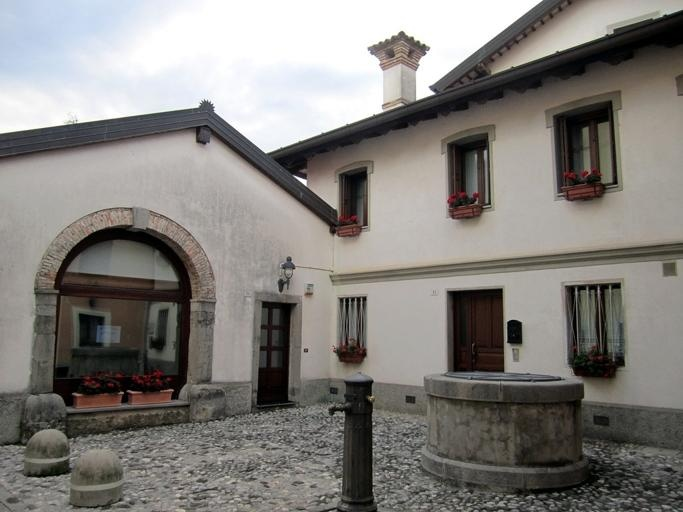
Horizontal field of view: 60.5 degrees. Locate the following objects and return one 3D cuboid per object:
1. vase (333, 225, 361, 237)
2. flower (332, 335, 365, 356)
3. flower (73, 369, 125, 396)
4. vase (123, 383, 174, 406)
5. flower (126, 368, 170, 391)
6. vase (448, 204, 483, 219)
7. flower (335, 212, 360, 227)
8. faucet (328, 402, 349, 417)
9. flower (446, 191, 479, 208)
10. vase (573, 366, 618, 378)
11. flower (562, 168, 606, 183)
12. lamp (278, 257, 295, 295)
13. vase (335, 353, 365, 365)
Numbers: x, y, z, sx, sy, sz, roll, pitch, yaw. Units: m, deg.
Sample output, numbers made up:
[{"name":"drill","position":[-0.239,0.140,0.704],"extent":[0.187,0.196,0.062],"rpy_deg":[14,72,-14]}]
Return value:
[{"name":"vase","position":[0.141,-0.566,13.560],"extent":[0.718,0.279,0.228],"rpy_deg":[-9,-12,41]},{"name":"flower","position":[0.149,2.024,13.148],"extent":[0.399,0.283,0.557],"rpy_deg":[6,-14,-24]},{"name":"flower","position":[-4.289,2.239,10.258],"extent":[0.481,0.292,0.486],"rpy_deg":[0,-5,36]},{"name":"vase","position":[-3.505,2.574,10.666],"extent":[0.790,0.265,0.381],"rpy_deg":[3,-10,-22]},{"name":"flower","position":[-3.600,2.243,10.828],"extent":[0.400,0.280,0.418],"rpy_deg":[-2,-7,43]},{"name":"vase","position":[2.438,-0.838,11.540],"extent":[0.279,0.173,0.447],"rpy_deg":[4,-4,-36]},{"name":"flower","position":[0.162,-0.847,13.747],"extent":[0.629,0.297,0.224],"rpy_deg":[4,-8,-20]},{"name":"faucet","position":[-0.064,1.787,6.862],"extent":[0.200,0.143,0.432],"rpy_deg":[2,-10,-20]},{"name":"flower","position":[2.421,-1.105,11.659],"extent":[0.365,0.223,0.427],"rpy_deg":[-3,-4,19]},{"name":"vase","position":[4.271,1.961,9.857],"extent":[0.677,0.203,0.167],"rpy_deg":[-6,-10,27]},{"name":"flower","position":[4.304,-1.350,10.298],"extent":[0.370,0.217,0.417],"rpy_deg":[-5,-10,40]},{"name":"lamp","position":[-1.154,0.398,12.631],"extent":[0.318,0.777,0.527],"rpy_deg":[-5,-10,28]},{"name":"vase","position":[0.183,2.296,13.082],"extent":[0.652,0.256,0.244],"rpy_deg":[-7,-11,33]}]
